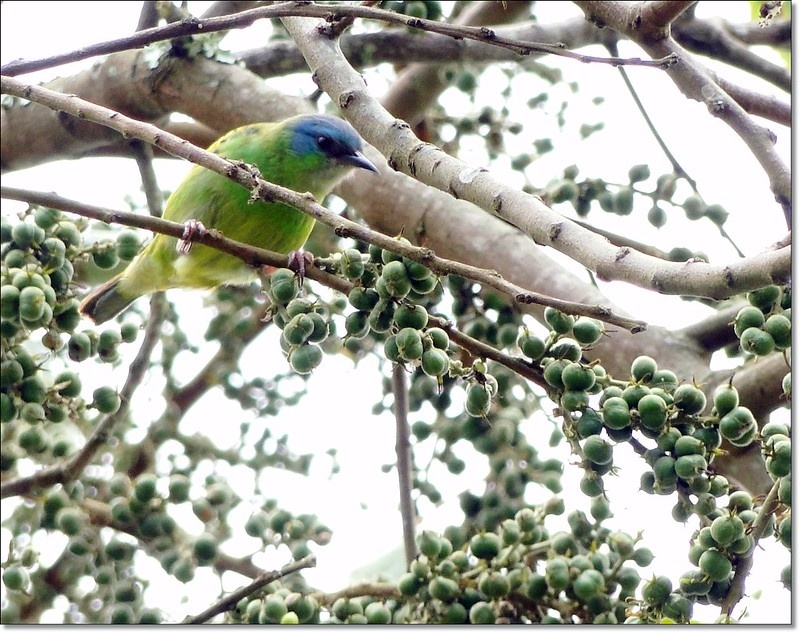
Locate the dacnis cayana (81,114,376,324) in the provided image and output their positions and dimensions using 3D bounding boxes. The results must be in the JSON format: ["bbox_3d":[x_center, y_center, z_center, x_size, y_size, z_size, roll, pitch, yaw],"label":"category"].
[{"bbox_3d":[-0.791,-0.602,6.101,1.595,0.671,0.597,3,-14,42],"label":"dacnis cayana"}]
